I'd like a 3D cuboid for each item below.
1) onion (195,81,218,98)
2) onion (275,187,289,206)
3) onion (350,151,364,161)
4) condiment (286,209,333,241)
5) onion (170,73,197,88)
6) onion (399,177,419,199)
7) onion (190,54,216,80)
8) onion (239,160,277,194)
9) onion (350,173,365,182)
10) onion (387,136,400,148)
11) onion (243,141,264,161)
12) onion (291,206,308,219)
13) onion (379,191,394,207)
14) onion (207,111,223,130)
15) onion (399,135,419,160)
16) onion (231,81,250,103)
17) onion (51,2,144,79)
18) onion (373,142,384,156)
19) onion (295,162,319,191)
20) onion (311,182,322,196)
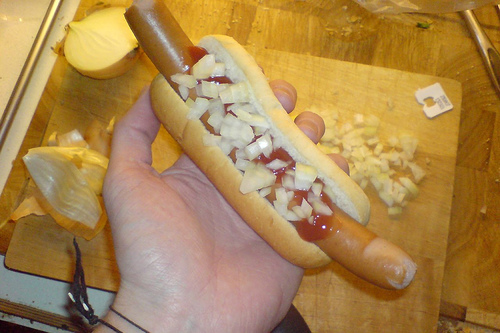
[{"bbox_3d":[-0.264,-0.486,2.820,0.106,0.036,0.111,14,89,7],"label":"onion"},{"bbox_3d":[0.197,0.180,2.813,0.068,0.032,0.110,-14,81,-2],"label":"onion"},{"bbox_3d":[0.821,-0.086,3.444,0.053,0.023,0.093,-35,85,-14],"label":"onion"},{"bbox_3d":[0.396,0.365,2.830,0.216,0.111,0.181,6,80,2],"label":"condiment"},{"bbox_3d":[-0.406,-0.545,2.841,0.143,0.028,0.075,22,96,-12],"label":"onion"},{"bbox_3d":[1.211,0.139,3.429,0.070,0.041,0.194,-42,82,-6],"label":"onion"},{"bbox_3d":[-0.299,-0.627,2.859,0.103,0.049,0.172,43,76,-20],"label":"onion"},{"bbox_3d":[0.039,0.043,2.814,0.242,0.062,0.189,-15,81,-2],"label":"onion"},{"bbox_3d":[0.812,0.074,3.424,0.116,0.038,0.058,0,80,1],"label":"onion"},{"bbox_3d":[1.097,-0.196,3.469,0.070,0.020,0.076,16,85,2],"label":"onion"},{"bbox_3d":[0.019,-0.102,2.798,0.128,0.050,0.095,-38,90,3],"label":"onion"},{"bbox_3d":[0.306,0.278,2.811,0.066,0.070,0.021,35,55,14],"label":"onion"},{"bbox_3d":[1.023,0.239,3.400,0.125,0.040,0.066,43,99,5],"label":"onion"},{"bbox_3d":[-0.211,-0.300,2.843,0.091,0.033,0.093,33,82,6],"label":"onion"},{"bbox_3d":[1.228,-0.148,3.470,0.144,0.056,0.171,-39,88,-5],"label":"onion"},{"bbox_3d":[-0.061,-0.468,2.855,0.103,0.059,0.129,-13,80,-1],"label":"onion"},{"bbox_3d":[-1.084,-0.904,3.286,0.521,0.303,0.579,5,82,5],"label":"onion"},{"bbox_3d":[0.979,-0.136,3.459,0.048,0.022,0.097,22,93,7],"label":"onion"},{"bbox_3d":[0.338,0.061,2.795,0.132,0.048,0.153,12,81,3],"label":"onion"},{"bbox_3d":[0.411,0.138,2.816,0.050,0.017,0.080,2,80,7],"label":"onion"}]
